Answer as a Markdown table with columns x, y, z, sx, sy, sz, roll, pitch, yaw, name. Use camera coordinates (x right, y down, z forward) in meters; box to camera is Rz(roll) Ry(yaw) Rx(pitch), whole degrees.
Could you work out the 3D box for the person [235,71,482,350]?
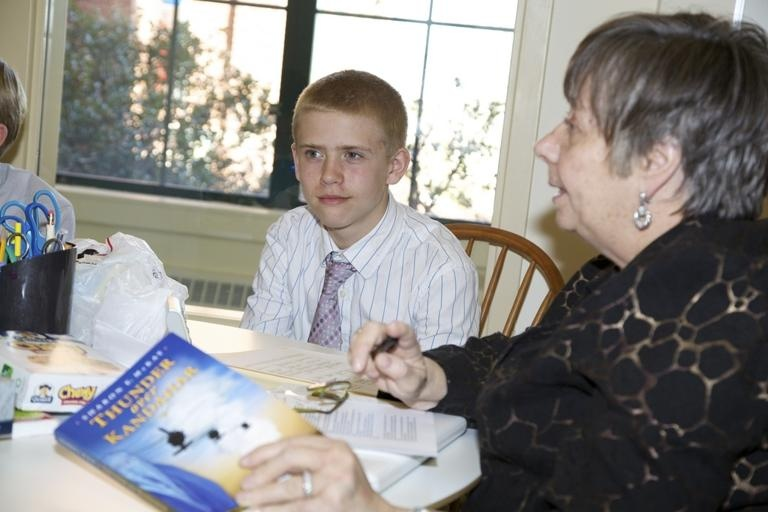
| x | y | z | sx | sy | sz | roll | pitch | yaw | name |
| --- | --- | --- | --- | --- | --- | --- | --- | --- | --- |
| -0.084 | -0.032 | 1.942 | 0.744 | 0.989 | 0.574 | 8 | 9 | 22 | person |
